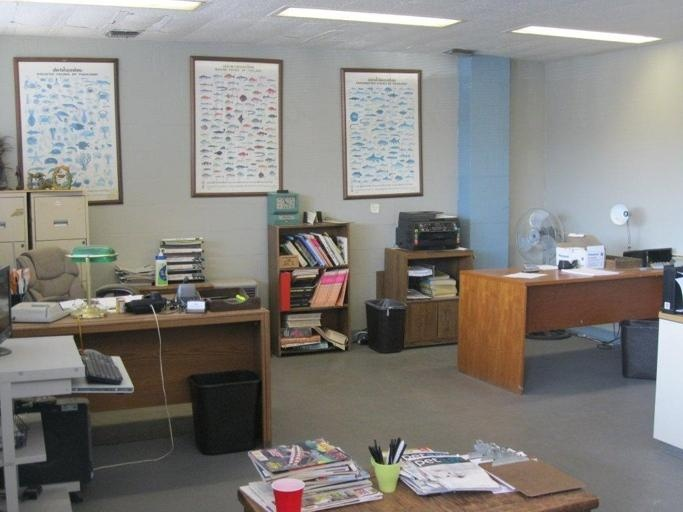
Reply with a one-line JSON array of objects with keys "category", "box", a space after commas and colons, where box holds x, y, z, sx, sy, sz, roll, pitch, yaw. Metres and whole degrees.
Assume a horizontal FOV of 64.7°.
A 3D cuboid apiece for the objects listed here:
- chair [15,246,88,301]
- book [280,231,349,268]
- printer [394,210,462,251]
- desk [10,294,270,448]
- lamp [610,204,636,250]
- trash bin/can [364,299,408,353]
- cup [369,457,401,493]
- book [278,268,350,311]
[{"category": "chair", "box": [-2.447, 0.148, 4.510, 0.494, 0.534, 0.455, 4, 9, 39]}, {"category": "book", "box": [-0.271, -0.082, 5.816, 0.572, 0.176, 0.418, -2, 6, -26]}, {"category": "printer", "box": [0.985, -0.286, 6.166, 0.725, 0.408, 0.414, 1, 10, 5]}, {"category": "desk", "box": [-1.304, 0.677, 3.906, 1.899, 0.994, 0.963, -3, 6, -28]}, {"category": "lamp", "box": [3.164, -0.337, 6.128, 0.251, 0.518, 0.359, 7, 12, 35]}, {"category": "trash bin/can", "box": [0.501, 0.764, 5.994, 0.389, 0.543, 0.390, -2, 10, -14]}, {"category": "cup", "box": [0.173, 0.877, 2.180, 0.129, 0.111, 0.112, 0, 1, -7]}, {"category": "book", "box": [-0.300, 0.355, 5.809, 0.824, 0.477, 0.458, -1, 4, -20]}]
